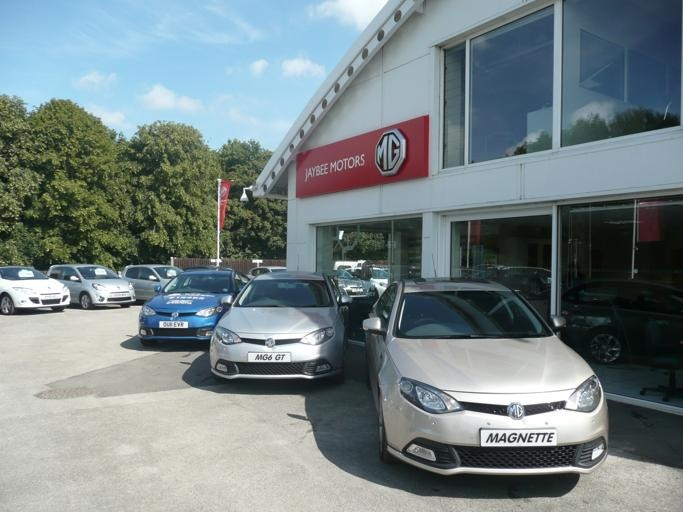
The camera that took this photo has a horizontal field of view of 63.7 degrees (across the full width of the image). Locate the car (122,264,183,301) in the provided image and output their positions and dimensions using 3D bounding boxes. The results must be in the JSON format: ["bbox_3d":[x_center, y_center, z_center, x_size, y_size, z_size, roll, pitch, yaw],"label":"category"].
[{"bbox_3d":[-6.571,0.936,18.907,1.895,0.991,1.207,-5,-4,28],"label":"car"}]

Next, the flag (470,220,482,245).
[{"bbox_3d":[2.560,-0.440,10.458,0.059,0.470,0.262,-2,4,-33],"label":"flag"}]

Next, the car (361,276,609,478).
[{"bbox_3d":[1.631,1.339,6.107,2.419,1.758,2.083,2,4,32],"label":"car"}]

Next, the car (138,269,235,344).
[{"bbox_3d":[-3.205,1.050,12.041,1.213,1.006,2.801,-1,-1,2],"label":"car"}]
